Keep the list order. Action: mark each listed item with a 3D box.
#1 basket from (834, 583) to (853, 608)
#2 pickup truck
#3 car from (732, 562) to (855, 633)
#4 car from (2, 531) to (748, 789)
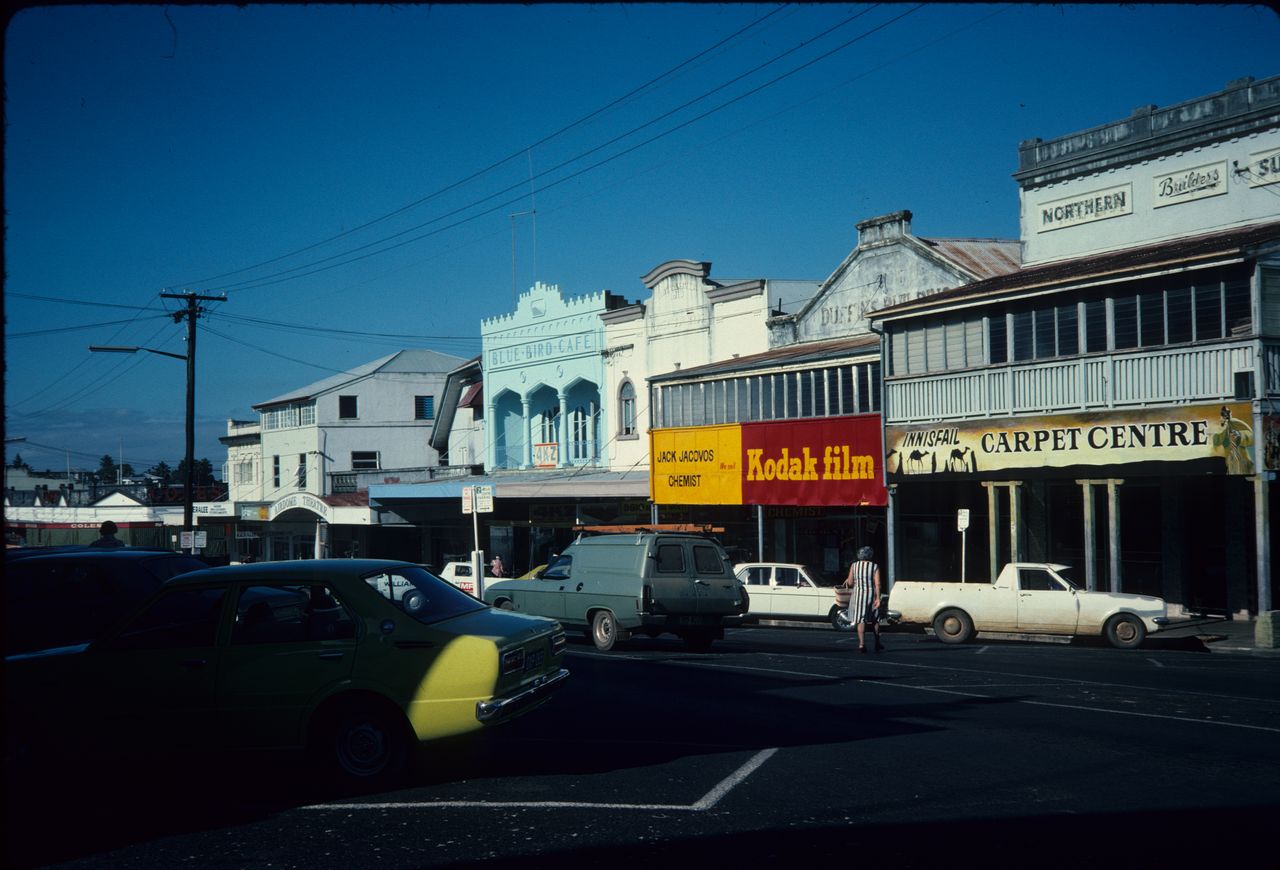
[{"bbox_3d":[4.716,3.576,32.887,0.626,0.545,0.693,0,-10,1],"label":"basket"},{"bbox_3d":[7.650,3.445,29.001,4.429,1.365,1.985,-3,-5,23],"label":"pickup truck"},{"bbox_3d":[3.480,3.693,33.461,2.334,0.984,1.329,-1,-2,10],"label":"car"},{"bbox_3d":[-4.208,2.735,18.245,6.957,2.200,2.944,1,-4,7],"label":"car"}]
